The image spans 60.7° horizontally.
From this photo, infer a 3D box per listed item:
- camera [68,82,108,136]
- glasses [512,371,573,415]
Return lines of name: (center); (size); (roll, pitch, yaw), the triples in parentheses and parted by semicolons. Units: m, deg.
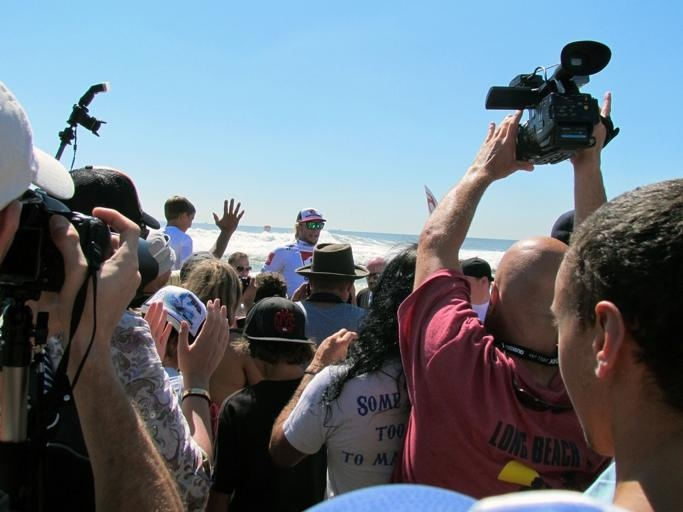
camera: (-2.423, -1.456, 5.675); (0.345, 0.527, 0.172); (18, -10, -4)
glasses: (0.753, 0.530, 2.194); (0.178, 0.066, 0.138); (21, 23, -23)
